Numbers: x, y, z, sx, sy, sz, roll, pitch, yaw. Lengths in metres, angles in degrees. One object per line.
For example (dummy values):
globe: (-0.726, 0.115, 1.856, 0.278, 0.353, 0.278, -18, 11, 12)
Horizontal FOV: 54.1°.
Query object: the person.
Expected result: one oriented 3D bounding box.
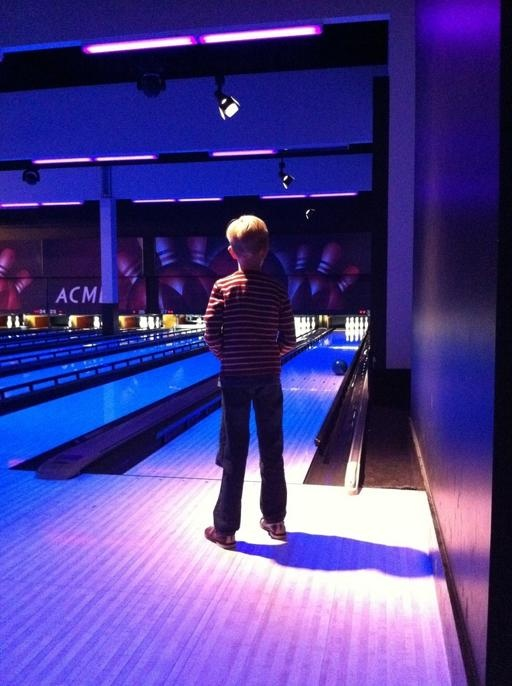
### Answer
person: (-0.018, 0.125, 1.629, 0.302, 1.063, 0.229, -1, 3, -10)
